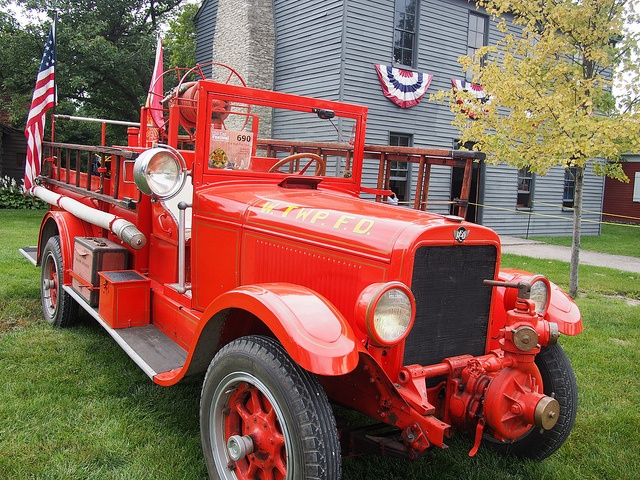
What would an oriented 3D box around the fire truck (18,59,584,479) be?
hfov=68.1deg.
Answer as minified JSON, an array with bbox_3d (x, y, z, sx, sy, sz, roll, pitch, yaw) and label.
[{"bbox_3d":[-0.743,0.256,4.764,2.632,2.718,5.400,-1,8,-35],"label":"fire truck"}]
